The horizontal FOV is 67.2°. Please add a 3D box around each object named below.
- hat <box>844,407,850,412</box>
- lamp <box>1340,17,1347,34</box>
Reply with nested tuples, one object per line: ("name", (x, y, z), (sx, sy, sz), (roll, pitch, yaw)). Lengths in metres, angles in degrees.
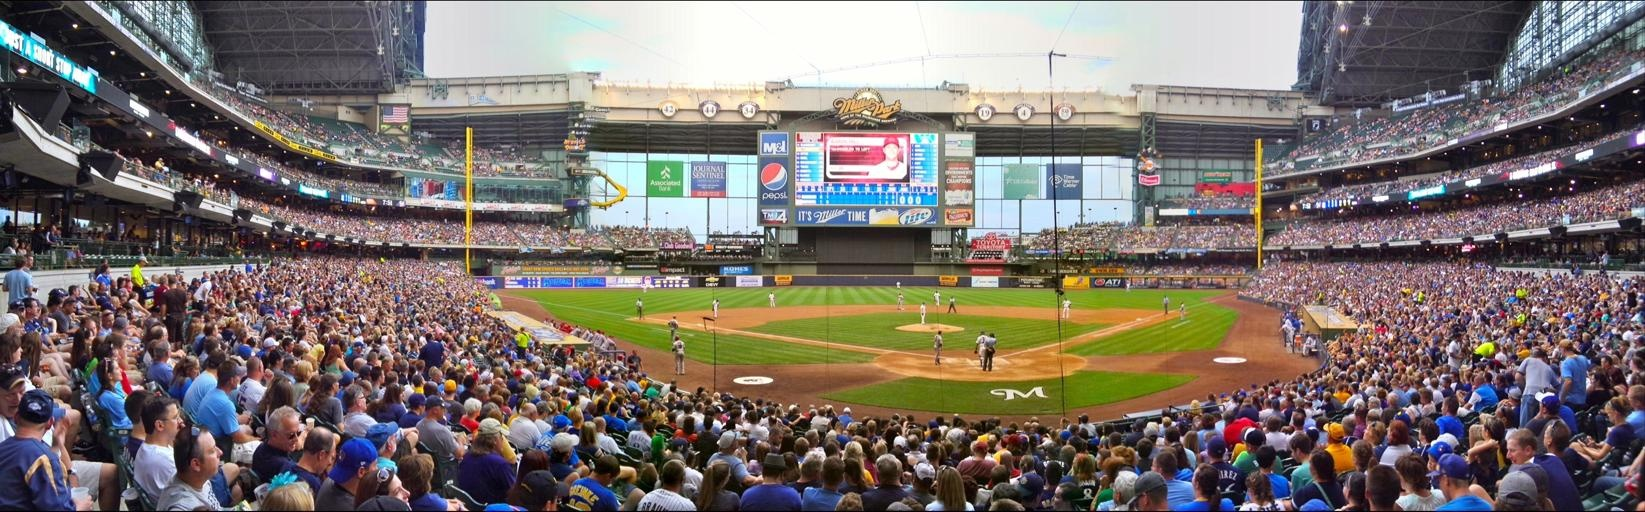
("hat", (4.022, 22.639, 183.443), (1.106, 0.747, 0.942), (2, 17, 2))
("lamp", (97.995, -42.738, 232.022), (1.791, 1.806, 1.239), (3, 1, 15))
